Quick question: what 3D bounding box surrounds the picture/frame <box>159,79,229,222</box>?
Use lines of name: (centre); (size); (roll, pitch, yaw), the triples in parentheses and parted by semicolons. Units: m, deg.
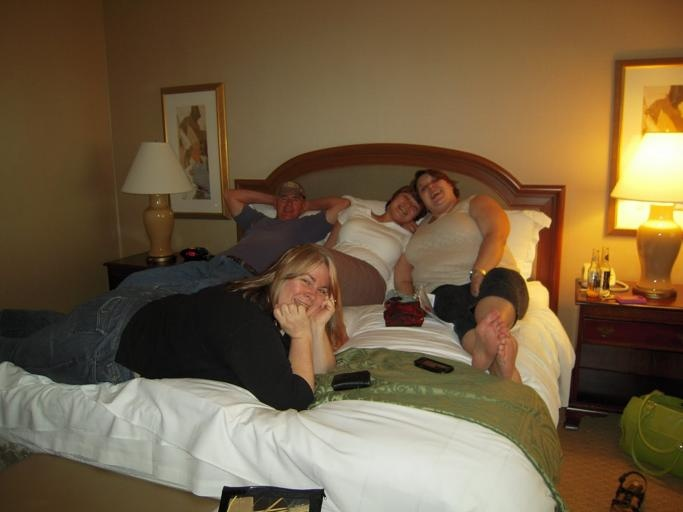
picture/frame: (-1.180, -0.816, 4.196); (0.581, 1.018, 0.022); (6, 14, 29)

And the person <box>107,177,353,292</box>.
person: (-0.515, -0.201, 4.273); (0.877, 0.700, 1.517); (5, 3, -11)

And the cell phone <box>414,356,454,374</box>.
cell phone: (0.398, 0.478, 2.233); (0.113, 0.020, 0.065); (12, 15, 43)

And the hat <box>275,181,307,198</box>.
hat: (-0.347, -0.465, 3.726); (0.149, 0.111, 0.150); (4, -16, 4)

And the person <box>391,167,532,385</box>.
person: (0.678, 0.077, 2.869); (0.522, 0.745, 1.230); (-15, 16, 19)

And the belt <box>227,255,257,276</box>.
belt: (-0.615, 0.073, 3.253); (0.136, 0.033, 0.135); (31, 15, -19)

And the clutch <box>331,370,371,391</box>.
clutch: (0.042, 0.511, 2.124); (0.107, 0.033, 0.083); (-3, 9, 6)

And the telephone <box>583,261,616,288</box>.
telephone: (1.583, 0.137, 3.212); (0.178, 0.181, 0.128); (4, -2, 14)

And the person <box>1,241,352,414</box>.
person: (-0.609, 0.319, 2.171); (1.239, 0.527, 0.652); (10, 18, -6)

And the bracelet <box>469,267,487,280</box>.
bracelet: (0.729, 0.099, 2.795); (0.065, 0.059, 0.060); (-3, 3, -34)
